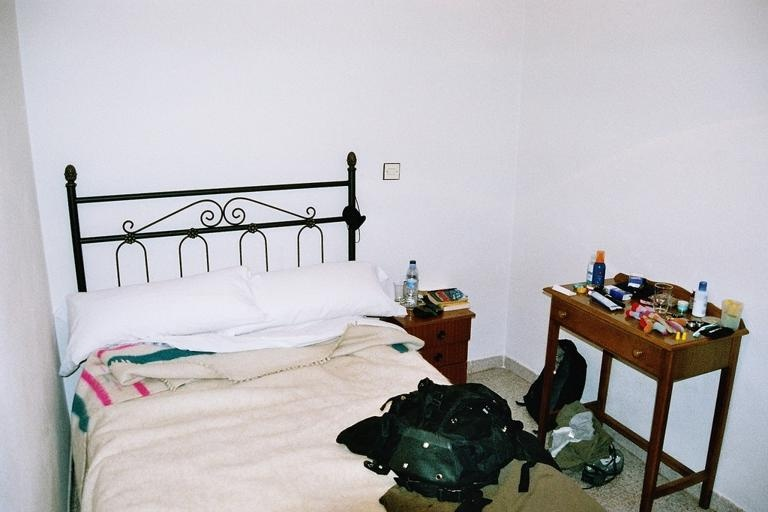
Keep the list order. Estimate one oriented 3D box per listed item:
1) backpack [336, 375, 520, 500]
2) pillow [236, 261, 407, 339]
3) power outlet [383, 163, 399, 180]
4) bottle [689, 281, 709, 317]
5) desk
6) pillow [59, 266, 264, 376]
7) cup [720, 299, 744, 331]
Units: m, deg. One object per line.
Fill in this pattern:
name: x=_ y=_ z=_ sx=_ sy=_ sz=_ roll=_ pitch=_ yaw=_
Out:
backpack: x=0.255 y=0.850 z=2.697 sx=0.615 sy=0.306 sz=0.481 roll=12 pitch=30 yaw=38
pillow: x=-0.386 y=0.261 z=3.687 sx=0.762 sy=0.162 sz=0.461 roll=-5 pitch=44 yaw=-20
power outlet: x=0.046 y=-0.613 z=4.141 sx=0.119 sy=0.117 sz=0.113 roll=0 pitch=31 yaw=-4
bottle: x=1.786 y=0.225 z=3.245 sx=0.076 sy=0.202 sz=0.181 roll=4 pitch=14 yaw=29
desk: x=1.544 y=0.816 z=3.323 sx=0.630 sy=1.222 sz=1.024 roll=-5 pitch=15 yaw=-21
pillow: x=-1.323 y=0.411 z=3.490 sx=0.962 sy=0.235 sz=0.599 roll=-10 pitch=51 yaw=-11
cup: x=1.879 y=0.318 z=3.108 sx=0.100 sy=0.157 sz=0.086 roll=4 pitch=14 yaw=30
